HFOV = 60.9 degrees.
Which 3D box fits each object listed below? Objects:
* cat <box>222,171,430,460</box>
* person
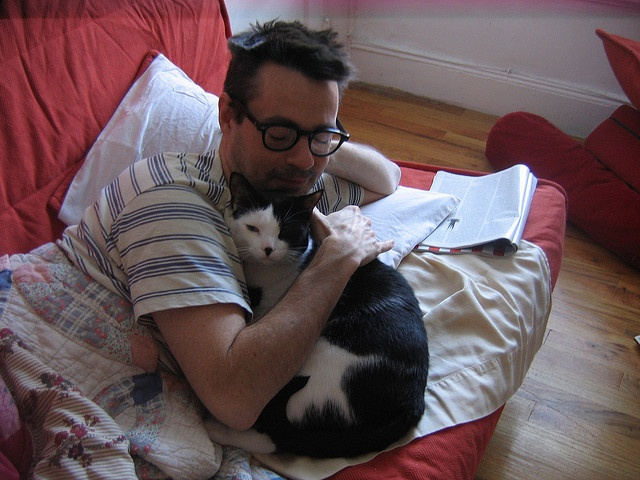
[{"bbox_3d":[0.024,0.223,1.657,0.596,0.551,0.631,1,38,-11],"label":"cat"},{"bbox_3d":[-0.252,-0.007,1.700,0.845,1.321,1.021,11,-2,17],"label":"person"}]
